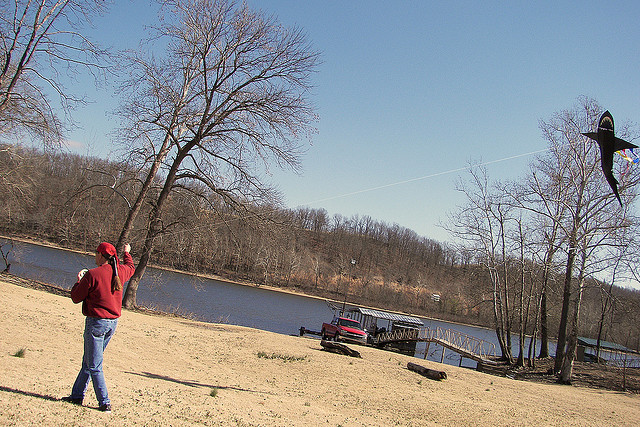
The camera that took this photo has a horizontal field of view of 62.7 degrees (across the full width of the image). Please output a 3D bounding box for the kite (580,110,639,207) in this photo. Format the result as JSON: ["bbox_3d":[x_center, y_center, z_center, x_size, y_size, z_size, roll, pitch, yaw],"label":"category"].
[{"bbox_3d":[13.091,-2.576,24.042,1.722,4.546,2.835,7,0,28],"label":"kite"}]

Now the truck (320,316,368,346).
[{"bbox_3d":[1.683,10.272,45.995,1.916,1.731,3.949,7,-13,-22],"label":"truck"}]

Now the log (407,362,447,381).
[{"bbox_3d":[6.618,9.971,33.759,0.838,0.640,3.504,38,-13,-21],"label":"log"}]
